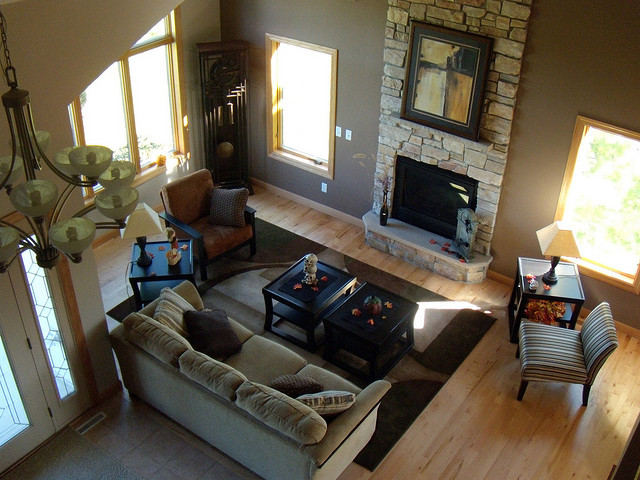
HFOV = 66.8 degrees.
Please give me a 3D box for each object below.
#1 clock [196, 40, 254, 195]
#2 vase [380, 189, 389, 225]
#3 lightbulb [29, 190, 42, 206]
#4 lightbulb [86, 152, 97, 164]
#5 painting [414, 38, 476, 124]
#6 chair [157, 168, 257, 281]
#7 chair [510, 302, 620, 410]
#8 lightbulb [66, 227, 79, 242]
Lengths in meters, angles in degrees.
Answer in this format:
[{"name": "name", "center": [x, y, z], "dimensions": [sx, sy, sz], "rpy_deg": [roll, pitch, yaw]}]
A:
[{"name": "clock", "center": [-1.558, -1.961, 8.088], "dimensions": [0.758, 2.236, 0.501], "rpy_deg": [-3, -7, 2]}, {"name": "vase", "center": [0.989, -0.522, 7.392], "dimensions": [0.137, 0.545, 0.268], "rpy_deg": [6, 22, 8]}, {"name": "lightbulb", "center": [-1.508, -0.220, 2.562], "dimensions": [0.060, 0.067, 0.069], "rpy_deg": [-11, 26, -31]}, {"name": "lightbulb", "center": [-1.294, -0.455, 2.723], "dimensions": [0.052, 0.052, 0.054], "rpy_deg": [5, 23, 2]}, {"name": "painting", "center": [1.662, -2.117, 6.351], "dimensions": [0.885, 1.077, 0.046], "rpy_deg": [26, 48, 25]}, {"name": "chair", "center": [-1.676, -0.278, 7.063], "dimensions": [0.975, 1.247, 1.067], "rpy_deg": [24, 37, 30]}, {"name": "chair", "center": [2.684, 1.246, 5.420], "dimensions": [0.864, 1.041, 0.822], "rpy_deg": [9, 36, 22]}, {"name": "lightbulb", "center": [-1.419, -0.026, 2.759], "dimensions": [0.057, 0.061, 0.056], "rpy_deg": [5, 36, 10]}]
